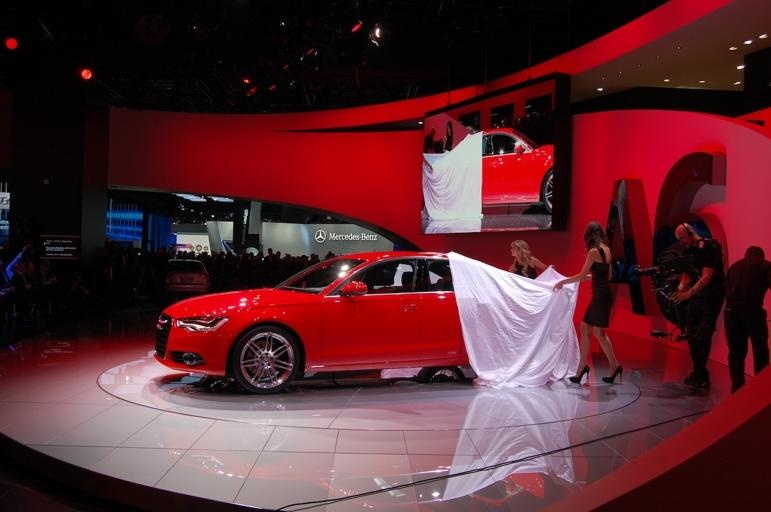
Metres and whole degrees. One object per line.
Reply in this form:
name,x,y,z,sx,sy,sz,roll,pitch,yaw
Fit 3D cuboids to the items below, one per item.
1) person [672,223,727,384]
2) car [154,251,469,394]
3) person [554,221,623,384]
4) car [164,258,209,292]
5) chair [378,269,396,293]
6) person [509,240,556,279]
person,4.651,0.772,6.465,0.668,2.436,0.497,2,4,16
car,-0.866,0.970,6.652,4.445,1.445,2.042,3,-3,-16
person,3.210,0.736,6.725,0.911,2.484,0.516,2,4,11
car,-7.029,0.663,14.837,1.497,1.239,2.792,2,5,-34
chair,0.010,0.389,6.461,0.298,0.438,0.234,3,2,26
person,3.140,0.078,9.133,0.519,1.048,0.600,-6,-13,-14
